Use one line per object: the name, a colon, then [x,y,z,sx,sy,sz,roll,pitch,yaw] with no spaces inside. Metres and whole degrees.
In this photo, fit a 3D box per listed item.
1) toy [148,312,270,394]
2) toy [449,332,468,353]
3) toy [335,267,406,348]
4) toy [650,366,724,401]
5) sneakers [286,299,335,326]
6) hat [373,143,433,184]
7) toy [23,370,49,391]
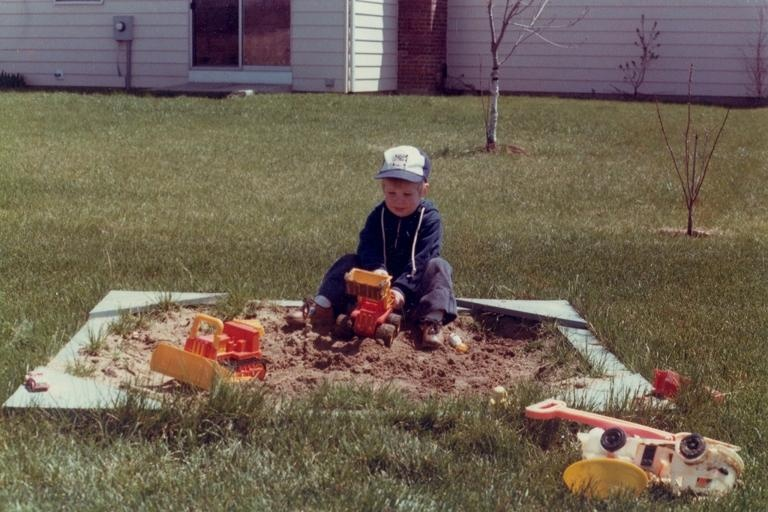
toy: [-1.574,0.879,8.897,0.718,0.454,0.738,12,13,34]
toy: [0.736,0.832,9.554,0.190,0.169,0.261,-5,19,-18]
toy: [-0.111,0.478,9.610,0.459,0.698,0.683,8,18,15]
toy: [2.722,1.158,8.808,0.396,0.390,0.171,6,-23,-19]
sneakers: [-0.741,0.578,9.685,0.419,0.244,0.231,3,-5,0]
hat: [0.184,-0.898,9.650,0.517,0.362,0.308,2,17,0]
toy: [-3.113,1.122,8.666,0.254,0.117,0.187,15,23,35]
